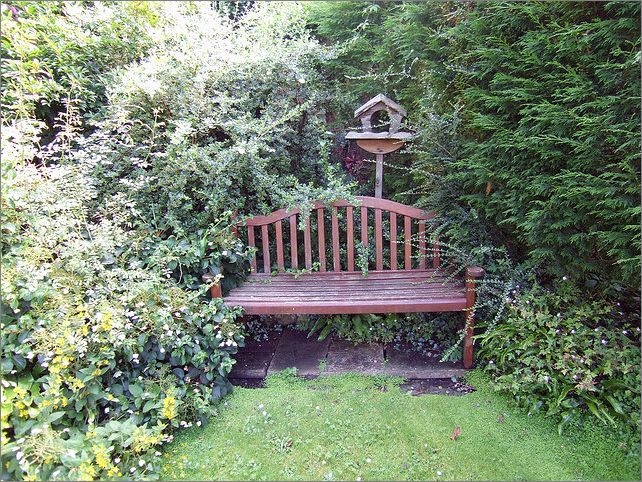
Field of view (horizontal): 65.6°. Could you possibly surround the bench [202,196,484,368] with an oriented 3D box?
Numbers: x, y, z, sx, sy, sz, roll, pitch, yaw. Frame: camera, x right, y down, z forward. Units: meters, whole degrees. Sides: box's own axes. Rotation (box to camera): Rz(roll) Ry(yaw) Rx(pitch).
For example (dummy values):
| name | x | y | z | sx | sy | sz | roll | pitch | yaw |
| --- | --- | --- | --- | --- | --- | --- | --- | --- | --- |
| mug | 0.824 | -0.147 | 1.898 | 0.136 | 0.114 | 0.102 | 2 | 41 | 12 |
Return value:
| name | x | y | z | sx | sy | sz | roll | pitch | yaw |
| --- | --- | --- | --- | --- | --- | --- | --- | --- | --- |
| bench | 0.217 | 0.408 | 4.641 | 1.877 | 0.891 | 0.579 | 0 | 19 | 2 |
